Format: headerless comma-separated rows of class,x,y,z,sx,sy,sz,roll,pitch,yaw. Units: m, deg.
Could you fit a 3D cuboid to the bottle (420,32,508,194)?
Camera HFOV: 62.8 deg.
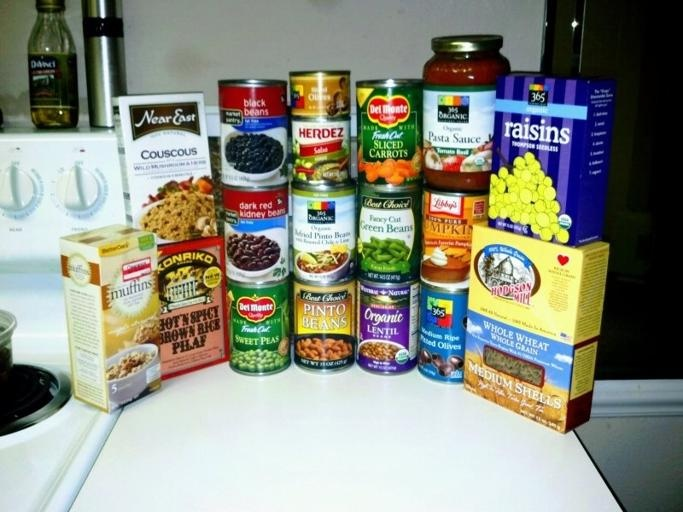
bottle,0.276,-0.319,1.254,0.204,0.305,0.191,-2,21,1
